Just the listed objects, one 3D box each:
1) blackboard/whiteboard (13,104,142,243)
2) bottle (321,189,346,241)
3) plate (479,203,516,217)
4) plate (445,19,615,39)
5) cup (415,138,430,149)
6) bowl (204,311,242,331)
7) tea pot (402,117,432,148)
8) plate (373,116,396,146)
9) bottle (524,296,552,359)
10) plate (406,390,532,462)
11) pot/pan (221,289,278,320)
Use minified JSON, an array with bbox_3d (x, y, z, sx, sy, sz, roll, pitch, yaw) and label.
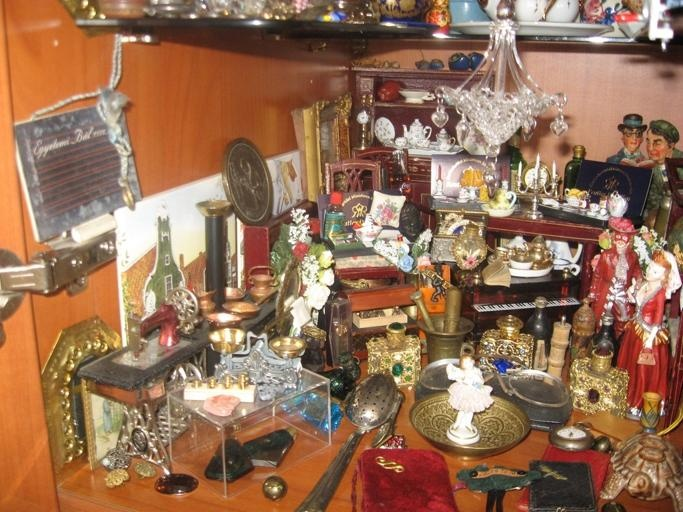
[{"bbox_3d":[-0.907,-0.274,1.856,0.042,0.319,0.435,2,25,29],"label":"blackboard/whiteboard"},{"bbox_3d":[-0.035,-0.212,2.943,0.122,0.231,0.202,-1,20,-2],"label":"bottle"},{"bbox_3d":[0.898,-0.248,3.137,0.177,0.062,0.137,5,20,12],"label":"plate"},{"bbox_3d":[0.683,-0.825,2.023,0.593,0.052,0.257,-1,20,-5],"label":"plate"},{"bbox_3d":[0.686,-0.927,4.601,0.100,0.066,0.091,-4,9,1],"label":"cup"},{"bbox_3d":[-0.485,0.262,2.259,0.097,0.035,0.078,-2,18,-10],"label":"bowl"},{"bbox_3d":[0.639,-1.028,4.662,0.290,0.291,0.205,2,16,3],"label":"tea pot"},{"bbox_3d":[0.375,-1.070,4.750,0.214,0.213,0.050,-27,25,-13],"label":"plate"},{"bbox_3d":[0.935,0.324,2.621,0.118,0.267,0.190,-1,20,-4],"label":"bottle"},{"bbox_3d":[0.499,0.672,2.147,0.464,0.125,0.295,3,20,8],"label":"plate"},{"bbox_3d":[-0.393,0.211,2.434,0.177,0.030,0.116,-28,17,-32],"label":"pot/pan"}]
